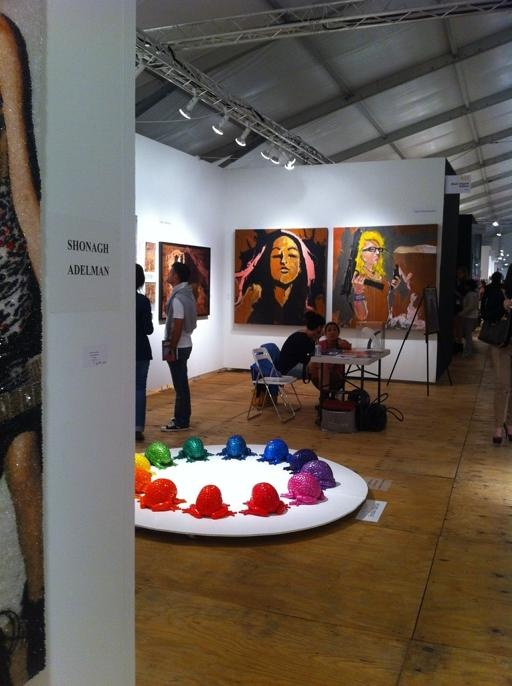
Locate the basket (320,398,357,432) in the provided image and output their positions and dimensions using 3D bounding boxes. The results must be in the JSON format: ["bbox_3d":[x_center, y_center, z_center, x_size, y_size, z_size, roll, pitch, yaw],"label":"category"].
[{"bbox_3d":[1.026,0.889,6.420,0.382,0.330,0.380,1,0,14],"label":"basket"}]

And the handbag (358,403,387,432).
[{"bbox_3d":[1.396,0.928,6.376,0.377,0.371,0.269,-1,4,4],"label":"handbag"}]

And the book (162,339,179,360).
[{"bbox_3d":[-1.014,0.087,5.943,0.076,0.188,0.287,1,0,43],"label":"book"}]

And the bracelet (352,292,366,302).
[{"bbox_3d":[1.954,-0.890,9.788,0.187,0.135,0.139,2,-2,2],"label":"bracelet"}]

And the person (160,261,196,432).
[{"bbox_3d":[-0.919,0.064,6.130,0.351,2.027,0.494,1,4,-8],"label":"person"}]

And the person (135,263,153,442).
[{"bbox_3d":[-1.244,0.284,5.690,0.150,1.648,0.328,1,4,-9],"label":"person"}]

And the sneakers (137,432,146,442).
[{"bbox_3d":[-1.293,1.065,5.815,0.056,0.069,0.162,4,11,2],"label":"sneakers"}]

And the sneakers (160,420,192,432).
[{"bbox_3d":[-0.977,1.019,6.310,0.366,0.154,0.130,3,0,3],"label":"sneakers"}]
